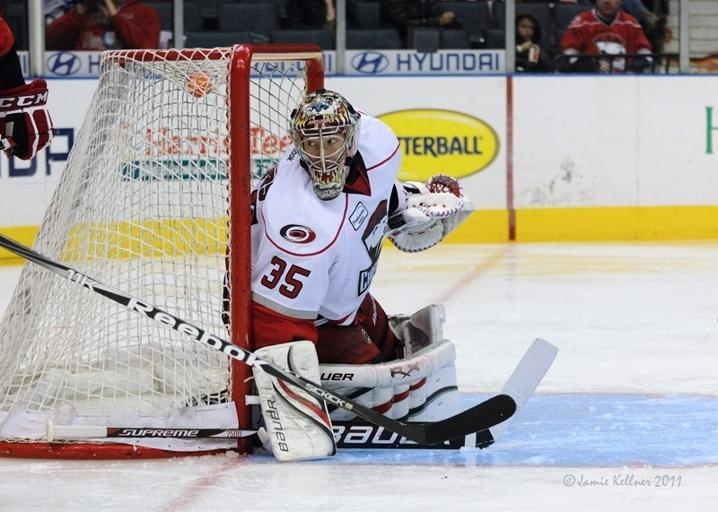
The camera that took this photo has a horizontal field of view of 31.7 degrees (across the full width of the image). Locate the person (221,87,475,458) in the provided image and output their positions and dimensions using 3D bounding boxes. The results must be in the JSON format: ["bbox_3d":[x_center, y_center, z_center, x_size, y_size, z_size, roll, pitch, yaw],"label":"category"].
[{"bbox_3d":[-0.080,0.048,5.750,0.970,1.658,1.410,15,33,28],"label":"person"}]

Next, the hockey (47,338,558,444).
[{"bbox_3d":[-0.314,0.598,5.482,1.842,0.187,0.424,1,14,-3],"label":"hockey"}]

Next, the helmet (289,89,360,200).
[{"bbox_3d":[-0.140,-0.474,5.389,0.385,0.526,0.431,-1,14,6],"label":"helmet"}]

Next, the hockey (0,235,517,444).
[{"bbox_3d":[-0.493,0.408,5.660,1.911,0.212,0.218,21,40,1],"label":"hockey"}]
